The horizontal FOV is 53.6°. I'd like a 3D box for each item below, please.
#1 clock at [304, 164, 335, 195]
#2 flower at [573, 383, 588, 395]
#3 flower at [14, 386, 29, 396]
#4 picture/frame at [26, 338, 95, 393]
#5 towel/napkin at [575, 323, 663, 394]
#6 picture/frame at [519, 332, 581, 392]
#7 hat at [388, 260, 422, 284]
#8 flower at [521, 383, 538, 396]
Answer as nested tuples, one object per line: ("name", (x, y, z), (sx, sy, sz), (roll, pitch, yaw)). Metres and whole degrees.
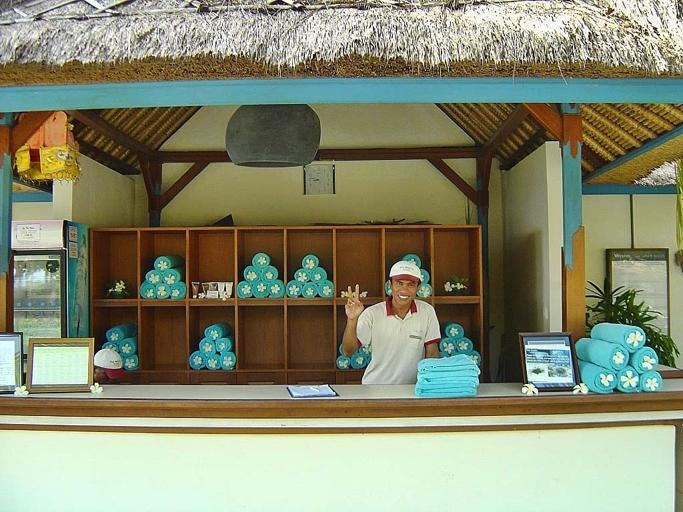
("clock", (-0.248, -0.910, 8.049), (0.387, 0.390, 0.029), (-1, -5, 0))
("flower", (1.669, 0.911, 4.642), (0.121, 0.061, 0.091), (-1, -4, 9))
("flower", (-2.228, 0.934, 4.666), (0.109, 0.063, 0.103), (0, -4, -10))
("picture/frame", (-1.973, 0.772, 4.716), (0.360, 0.327, 0.128), (0, -7, -1))
("towel/napkin", (1.956, 0.689, 4.724), (0.411, 0.398, 0.589), (1, 1, 5))
("picture/frame", (1.477, 0.748, 4.720), (0.393, 0.416, 0.030), (1, -16, -4))
("hat", (0.524, 0.126, 5.286), (0.219, 0.188, 0.273), (-2, -4, 18))
("flower", (1.317, 0.916, 4.631), (0.117, 0.066, 0.075), (-1, -4, 9))
